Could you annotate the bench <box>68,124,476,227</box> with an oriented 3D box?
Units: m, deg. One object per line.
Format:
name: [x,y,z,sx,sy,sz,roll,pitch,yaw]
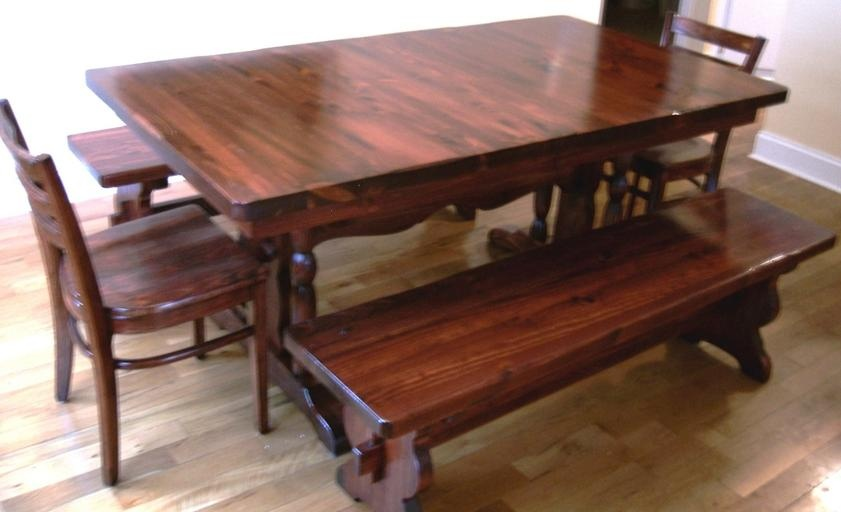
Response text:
bench: [-0.576,-0.328,2.526,0.225,0.237,0.797,47,37,21]

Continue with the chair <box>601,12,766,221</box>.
chair: [1.385,-0.794,3.712,0.827,0.992,0.682,-18,48,-11]
